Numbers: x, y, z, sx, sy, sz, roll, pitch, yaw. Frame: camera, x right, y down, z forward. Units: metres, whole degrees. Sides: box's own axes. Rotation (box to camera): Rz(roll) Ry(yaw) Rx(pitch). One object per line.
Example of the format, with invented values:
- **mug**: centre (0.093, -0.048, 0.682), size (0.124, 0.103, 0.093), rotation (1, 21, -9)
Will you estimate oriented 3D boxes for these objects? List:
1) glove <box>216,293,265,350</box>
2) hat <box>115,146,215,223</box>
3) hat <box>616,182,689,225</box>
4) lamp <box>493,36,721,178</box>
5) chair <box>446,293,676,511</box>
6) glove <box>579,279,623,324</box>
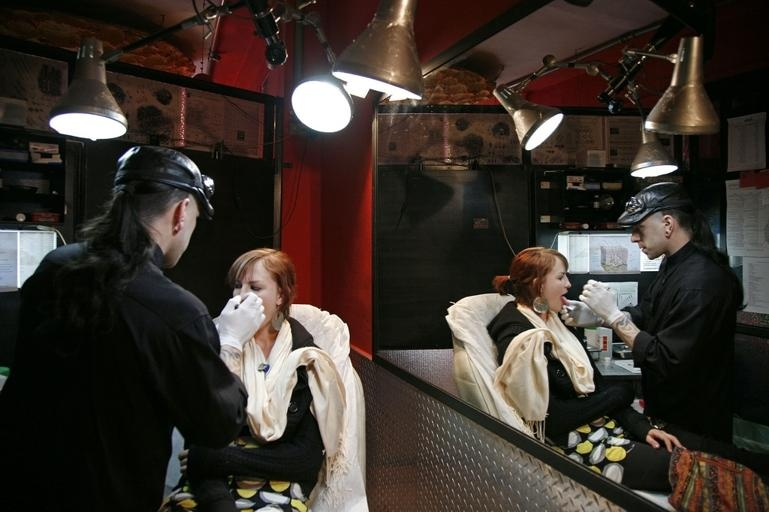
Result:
- **glove**: centre (-0.601, 0.261, 2.430), size (0.164, 0.271, 0.090), rotation (37, -12, -7)
- **hat**: centre (-0.792, -0.285, 2.195), size (0.346, 0.171, 0.250), rotation (19, -11, -21)
- **hat**: centre (0.871, -0.157, 1.824), size (0.227, 0.111, 0.157), rotation (-6, -8, 18)
- **lamp**: centre (0.798, -0.468, 2.081), size (0.274, 0.395, 0.762), rotation (-13, -3, -45)
- **chair**: centre (0.714, 0.429, 2.513), size (0.686, 0.752, 0.535), rotation (-20, -12, 34)
- **glove**: centre (0.716, 0.145, 1.896), size (0.059, 0.135, 0.099), rotation (-12, -31, -48)
